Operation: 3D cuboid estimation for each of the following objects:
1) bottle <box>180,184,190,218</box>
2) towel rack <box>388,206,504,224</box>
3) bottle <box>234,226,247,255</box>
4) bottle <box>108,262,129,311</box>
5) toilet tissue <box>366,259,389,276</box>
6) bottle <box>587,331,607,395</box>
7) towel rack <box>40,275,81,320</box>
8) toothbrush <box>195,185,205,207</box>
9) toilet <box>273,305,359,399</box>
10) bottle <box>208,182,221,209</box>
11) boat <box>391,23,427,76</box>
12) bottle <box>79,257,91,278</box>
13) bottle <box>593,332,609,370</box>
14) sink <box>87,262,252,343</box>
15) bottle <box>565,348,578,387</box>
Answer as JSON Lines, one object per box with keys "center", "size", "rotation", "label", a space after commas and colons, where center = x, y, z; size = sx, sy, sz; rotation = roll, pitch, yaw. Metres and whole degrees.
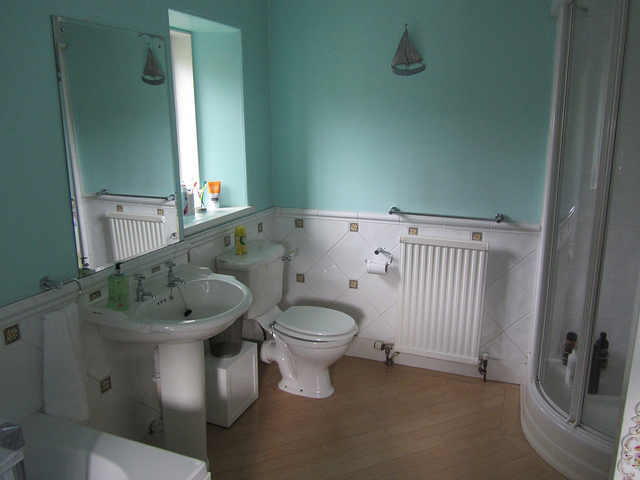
{"center": [-0.877, -0.246, 2.967], "size": [0.043, 0.215, 0.179], "rotation": [-8, 15, -14], "label": "bottle"}
{"center": [0.877, -0.170, 3.233], "size": [0.580, 0.118, 0.044], "rotation": [8, -2, 19], "label": "towel rack"}
{"center": [-0.558, -0.008, 3.167], "size": [0.085, 0.189, 0.139], "rotation": [-7, 15, -11], "label": "bottle"}
{"center": [-0.992, 0.229, 2.253], "size": [0.089, 0.229, 0.091], "rotation": [0, 6, 0], "label": "bottle"}
{"center": [0.412, 0.199, 3.310], "size": [0.121, 0.101, 0.102], "rotation": [2, -13, 16], "label": "toilet tissue"}
{"center": [1.491, 0.656, 2.464], "size": [0.038, 0.335, 0.146], "rotation": [10, 20, 44], "label": "bottle"}
{"center": [-1.198, 0.233, 2.098], "size": [0.045, 0.176, 0.219], "rotation": [3, 16, 26], "label": "towel rack"}
{"center": [-0.850, -0.320, 3.233], "size": [0.015, 0.121, 0.016], "rotation": [-29, 10, -39], "label": "toothbrush"}
{"center": [-0.040, 0.802, 3.234], "size": [0.577, 0.552, 0.488], "rotation": [8, 16, 22], "label": "toilet"}
{"center": [-0.756, -0.323, 3.280], "size": [0.080, 0.185, 0.053], "rotation": [-10, 16, -23], "label": "bottle"}
{"center": [0.611, -1.301, 3.107], "size": [0.297, 0.403, 0.106], "rotation": [4, 29, 20], "label": "boat"}
{"center": [-1.137, 0.139, 2.204], "size": [0.014, 0.069, 0.048], "rotation": [5, 17, 33], "label": "bottle"}
{"center": [1.509, 0.564, 2.456], "size": [0.110, 0.142, 0.026], "rotation": [-12, 16, -26], "label": "bottle"}
{"center": [-0.734, 0.362, 2.437], "size": [0.685, 0.251, 0.790], "rotation": [9, 17, 29], "label": "sink"}
{"center": [1.411, 0.710, 2.582], "size": [0.048, 0.223, 0.117], "rotation": [4, 17, 30], "label": "bottle"}
